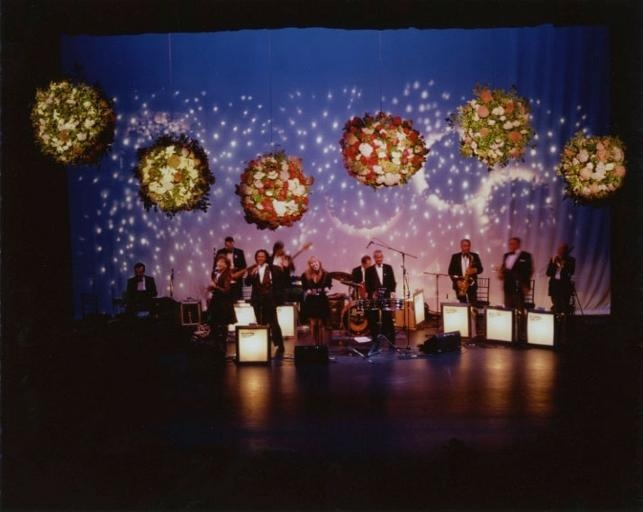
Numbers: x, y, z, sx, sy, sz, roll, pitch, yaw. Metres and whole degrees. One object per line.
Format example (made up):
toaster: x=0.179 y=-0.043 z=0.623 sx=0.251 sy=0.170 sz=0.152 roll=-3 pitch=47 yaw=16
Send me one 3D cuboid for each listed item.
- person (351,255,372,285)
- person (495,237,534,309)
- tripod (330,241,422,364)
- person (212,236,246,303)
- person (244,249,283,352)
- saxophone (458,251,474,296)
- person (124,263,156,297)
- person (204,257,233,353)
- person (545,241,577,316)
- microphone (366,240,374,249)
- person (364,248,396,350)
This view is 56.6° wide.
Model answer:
person: x=0.716 y=0.263 z=10.806 sx=0.257 sy=0.871 sz=0.332 roll=8 pitch=13 yaw=37
person: x=3.330 y=0.303 z=10.292 sx=0.550 sy=1.218 sz=1.016 roll=1 pitch=7 yaw=17
tripod: x=0.947 y=0.846 z=10.512 sx=1.513 sy=2.192 sz=0.846 roll=-1 pitch=-8 yaw=-4
person: x=-1.796 y=0.383 z=11.776 sx=0.562 sy=1.622 sz=0.422 roll=-2 pitch=17 yaw=-7
person: x=-0.918 y=0.737 z=9.778 sx=0.678 sy=1.687 sz=0.342 roll=2 pitch=7 yaw=26
saxophone: x=2.642 y=0.341 z=10.945 sx=0.266 sy=0.742 sz=0.377 roll=1 pitch=7 yaw=15
person: x=-3.363 y=0.454 z=11.127 sx=0.546 sy=0.642 sz=1.445 roll=-3 pitch=7 yaw=-16
person: x=-1.620 y=0.735 z=9.637 sx=0.410 sy=1.546 sz=0.645 roll=-2 pitch=6 yaw=-12
person: x=4.242 y=0.428 z=10.646 sx=0.432 sy=1.302 sz=0.883 roll=3 pitch=7 yaw=30
microphone: x=0.914 y=-0.218 z=11.259 sx=0.034 sy=0.159 sz=0.151 roll=11 pitch=2 yaw=-9
person: x=0.944 y=0.730 z=9.810 sx=0.500 sy=1.621 sz=1.010 roll=0 pitch=6 yaw=5
